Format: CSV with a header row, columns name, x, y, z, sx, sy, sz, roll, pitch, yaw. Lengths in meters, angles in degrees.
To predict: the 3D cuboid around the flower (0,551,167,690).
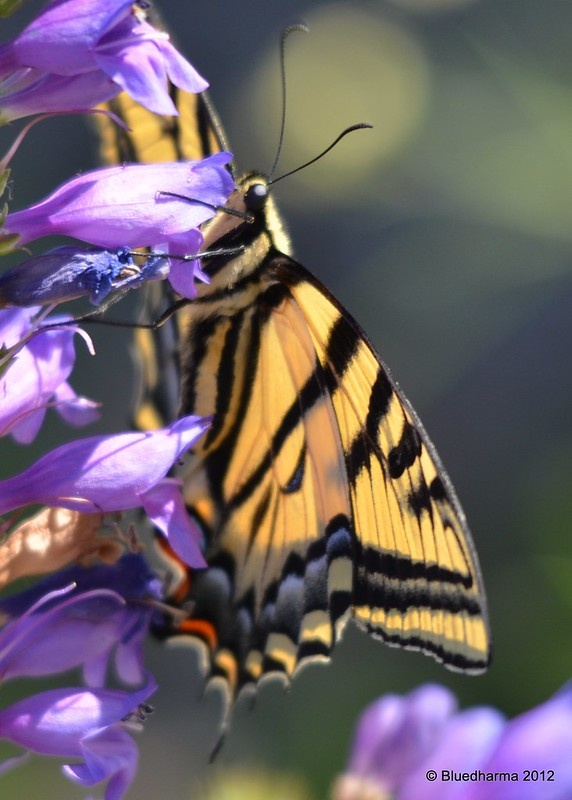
name,x,y,z,sx,sy,sz,roll,pitch,yaw
flower,-0.274,0.271,1.117,0.203,0.212,0.105,31,54,-64
